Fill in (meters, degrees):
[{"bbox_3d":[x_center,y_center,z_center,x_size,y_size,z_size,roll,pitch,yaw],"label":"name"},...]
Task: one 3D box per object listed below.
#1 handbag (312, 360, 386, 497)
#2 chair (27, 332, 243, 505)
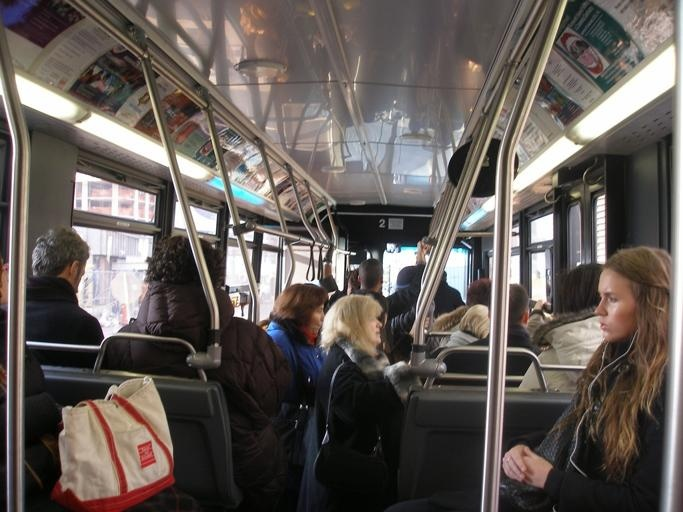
[{"bbox_3d":[0.051,0.913,2.585,0.452,0.746,0.373,10,-16,-17],"label":"handbag"},{"bbox_3d":[-0.892,0.852,2.520,0.974,0.685,0.743,6,-17,4],"label":"chair"}]
